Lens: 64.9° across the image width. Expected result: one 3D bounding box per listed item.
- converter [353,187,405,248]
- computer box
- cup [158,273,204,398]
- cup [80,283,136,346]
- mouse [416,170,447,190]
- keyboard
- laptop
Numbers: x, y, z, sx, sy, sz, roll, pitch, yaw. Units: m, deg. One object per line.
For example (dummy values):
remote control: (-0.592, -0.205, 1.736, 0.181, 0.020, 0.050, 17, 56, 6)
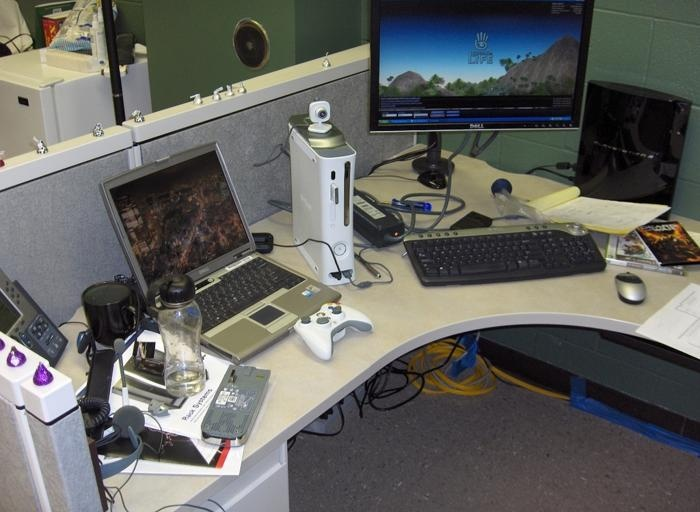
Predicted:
converter: (0.085, -0.093, 1.701, 0.161, 0.161, 0.184, 25, 37, 28)
computer box: (0.898, -0.350, 1.748, 0.332, 0.448, 0.223, 16, 30, 33)
cup: (-0.374, 0.174, 1.209, 0.108, 0.273, 0.093, -9, 20, -28)
cup: (-0.537, 0.124, 1.310, 0.147, 0.136, 0.095, 15, 28, 15)
mouse: (0.291, -0.273, 1.914, 0.065, 0.029, 0.086, -17, 34, -22)
keyboard: (0.431, -0.015, 1.524, 0.388, 0.055, 0.180, -7, 42, -6)
laptop: (-0.299, -0.029, 1.313, 0.451, 0.293, 0.355, 27, 39, 32)
